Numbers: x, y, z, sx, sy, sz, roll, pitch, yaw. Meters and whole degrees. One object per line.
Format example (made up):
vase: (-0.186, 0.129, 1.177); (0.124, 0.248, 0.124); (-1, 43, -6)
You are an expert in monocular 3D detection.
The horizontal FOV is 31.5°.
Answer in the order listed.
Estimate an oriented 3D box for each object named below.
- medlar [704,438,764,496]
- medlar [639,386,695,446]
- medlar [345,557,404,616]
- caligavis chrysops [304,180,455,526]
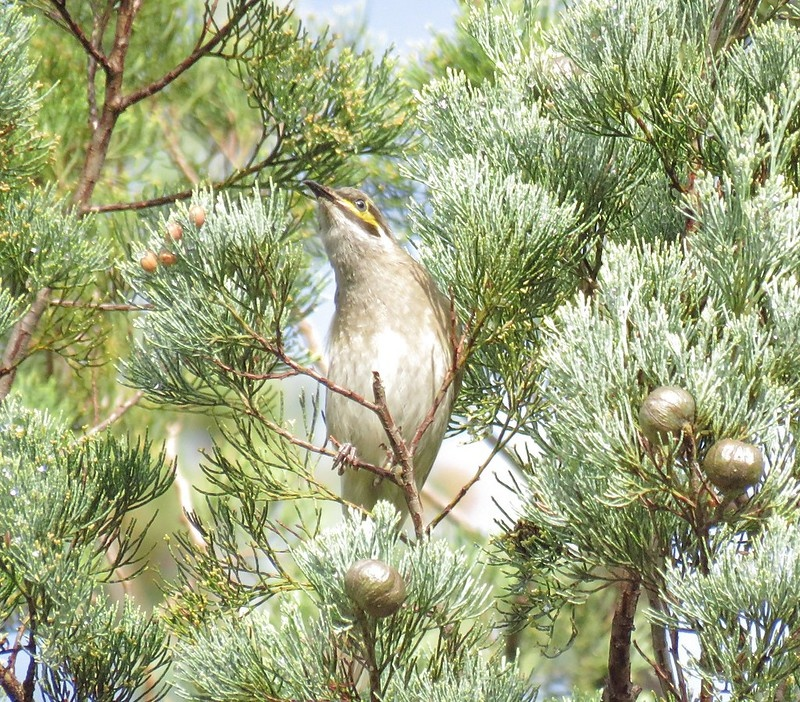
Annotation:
medlar: (0.803, 0.272, 3.386); (0.154, 0.130, 0.104); (-6, -8, -1)
medlar: (0.640, 0.149, 3.463); (0.122, 0.116, 0.142); (-40, -20, -10)
medlar: (-0.062, 0.567, 3.411); (0.140, 0.132, 0.058); (-5, -7, -5)
caligavis chrysops: (-0.056, -0.028, 5.012); (0.449, 1.275, 0.626); (-4, -8, -4)
